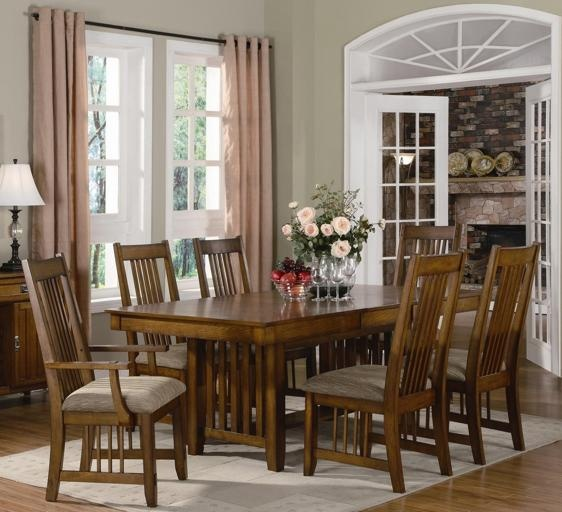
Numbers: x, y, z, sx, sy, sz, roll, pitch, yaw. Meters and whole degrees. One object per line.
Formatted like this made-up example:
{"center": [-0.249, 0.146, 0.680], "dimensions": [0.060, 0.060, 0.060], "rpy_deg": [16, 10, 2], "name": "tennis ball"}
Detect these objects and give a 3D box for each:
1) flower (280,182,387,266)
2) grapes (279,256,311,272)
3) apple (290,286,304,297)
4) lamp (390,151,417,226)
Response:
{"center": [0.400, -0.276, 4.055], "dimensions": [0.774, 0.686, 0.727], "rpy_deg": [-5, 13, -32], "name": "flower"}
{"center": [0.084, 0.044, 2.939], "dimensions": [0.146, 0.076, 0.064], "rpy_deg": [12, 0, -2], "name": "grapes"}
{"center": [0.087, 0.185, 2.863], "dimensions": [0.064, 0.043, 0.061], "rpy_deg": [0, 1, 12], "name": "apple"}
{"center": [1.254, -0.721, 5.551], "dimensions": [0.244, 0.677, 0.113], "rpy_deg": [-1, -2, 7], "name": "lamp"}
